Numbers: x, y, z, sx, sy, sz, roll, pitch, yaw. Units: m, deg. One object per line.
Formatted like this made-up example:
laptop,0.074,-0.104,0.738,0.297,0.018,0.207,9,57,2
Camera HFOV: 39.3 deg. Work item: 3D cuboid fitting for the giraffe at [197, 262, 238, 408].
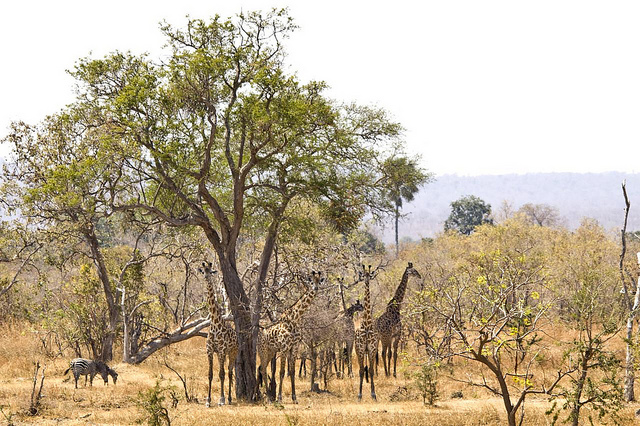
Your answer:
giraffe,-5.372,6.418,46.997,1.030,7.557,2.322,-11,-14,37

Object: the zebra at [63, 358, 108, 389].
zebra,-12.351,8.519,47.487,2.400,1.512,0.760,8,-5,-32
